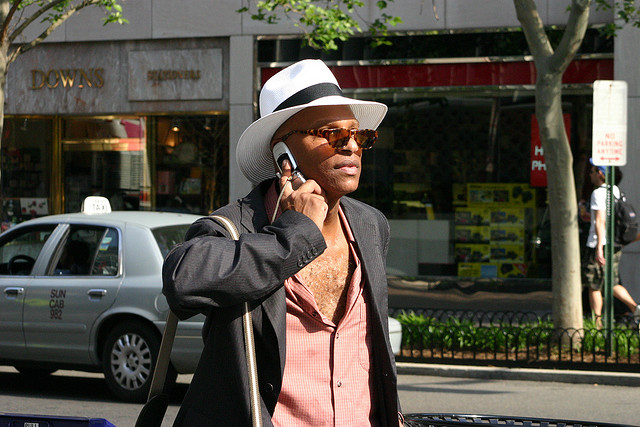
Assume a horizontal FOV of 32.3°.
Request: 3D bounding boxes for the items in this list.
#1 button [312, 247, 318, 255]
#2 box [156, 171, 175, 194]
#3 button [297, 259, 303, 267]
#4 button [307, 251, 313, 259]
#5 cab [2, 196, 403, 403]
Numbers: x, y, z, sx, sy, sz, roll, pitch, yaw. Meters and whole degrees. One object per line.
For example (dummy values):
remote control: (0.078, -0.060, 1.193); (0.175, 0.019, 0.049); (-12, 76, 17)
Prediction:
button: (-0.054, 0.455, 13.642); (0.072, 0.140, 0.072); (-1, -4, 29)
box: (-3.449, -0.708, 24.614); (0.402, 0.818, 0.568); (1, 1, 2)
button: (-0.243, 0.604, 13.620); (0.081, 0.088, 0.019); (3, -3, -12)
button: (-0.124, 0.504, 13.634); (0.060, 0.089, 0.023); (0, 1, 6)
cab: (-2.178, 1.472, 18.678); (6.865, 2.657, 3.025); (2, 0, 21)
